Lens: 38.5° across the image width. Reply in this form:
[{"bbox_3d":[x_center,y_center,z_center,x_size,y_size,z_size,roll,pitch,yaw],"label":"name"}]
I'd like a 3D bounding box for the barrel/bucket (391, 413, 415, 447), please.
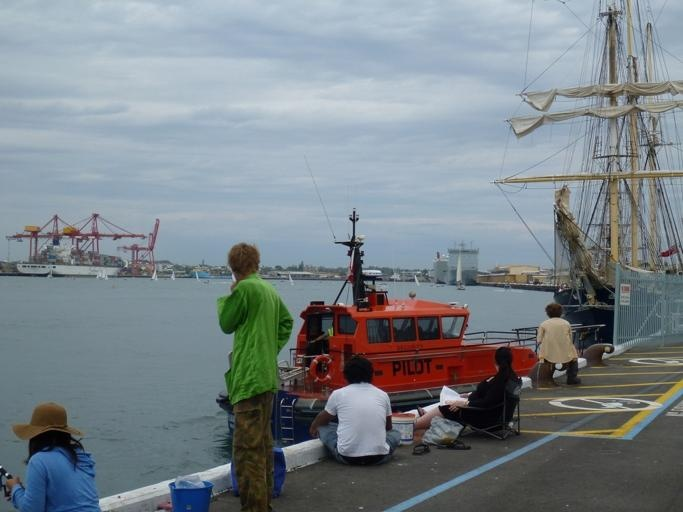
[{"bbox_3d":[1.318,3.601,20.276,0.641,0.450,0.581,0,-3,-2],"label":"barrel/bucket"}]

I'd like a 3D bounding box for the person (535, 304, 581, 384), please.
[{"bbox_3d":[5.506,2.259,24.689,1.061,2.122,0.994,0,-3,-15],"label":"person"}]

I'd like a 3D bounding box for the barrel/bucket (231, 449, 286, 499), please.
[{"bbox_3d":[-1.680,4.063,18.298,1.180,1.037,0.849,-5,-6,22],"label":"barrel/bucket"}]

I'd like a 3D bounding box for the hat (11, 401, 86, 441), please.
[{"bbox_3d":[-5.135,2.845,17.014,1.015,0.753,0.693,1,-5,-8],"label":"hat"}]

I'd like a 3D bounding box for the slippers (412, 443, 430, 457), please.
[{"bbox_3d":[1.615,3.970,19.924,0.274,0.115,0.194,-12,-1,-39],"label":"slippers"}]
